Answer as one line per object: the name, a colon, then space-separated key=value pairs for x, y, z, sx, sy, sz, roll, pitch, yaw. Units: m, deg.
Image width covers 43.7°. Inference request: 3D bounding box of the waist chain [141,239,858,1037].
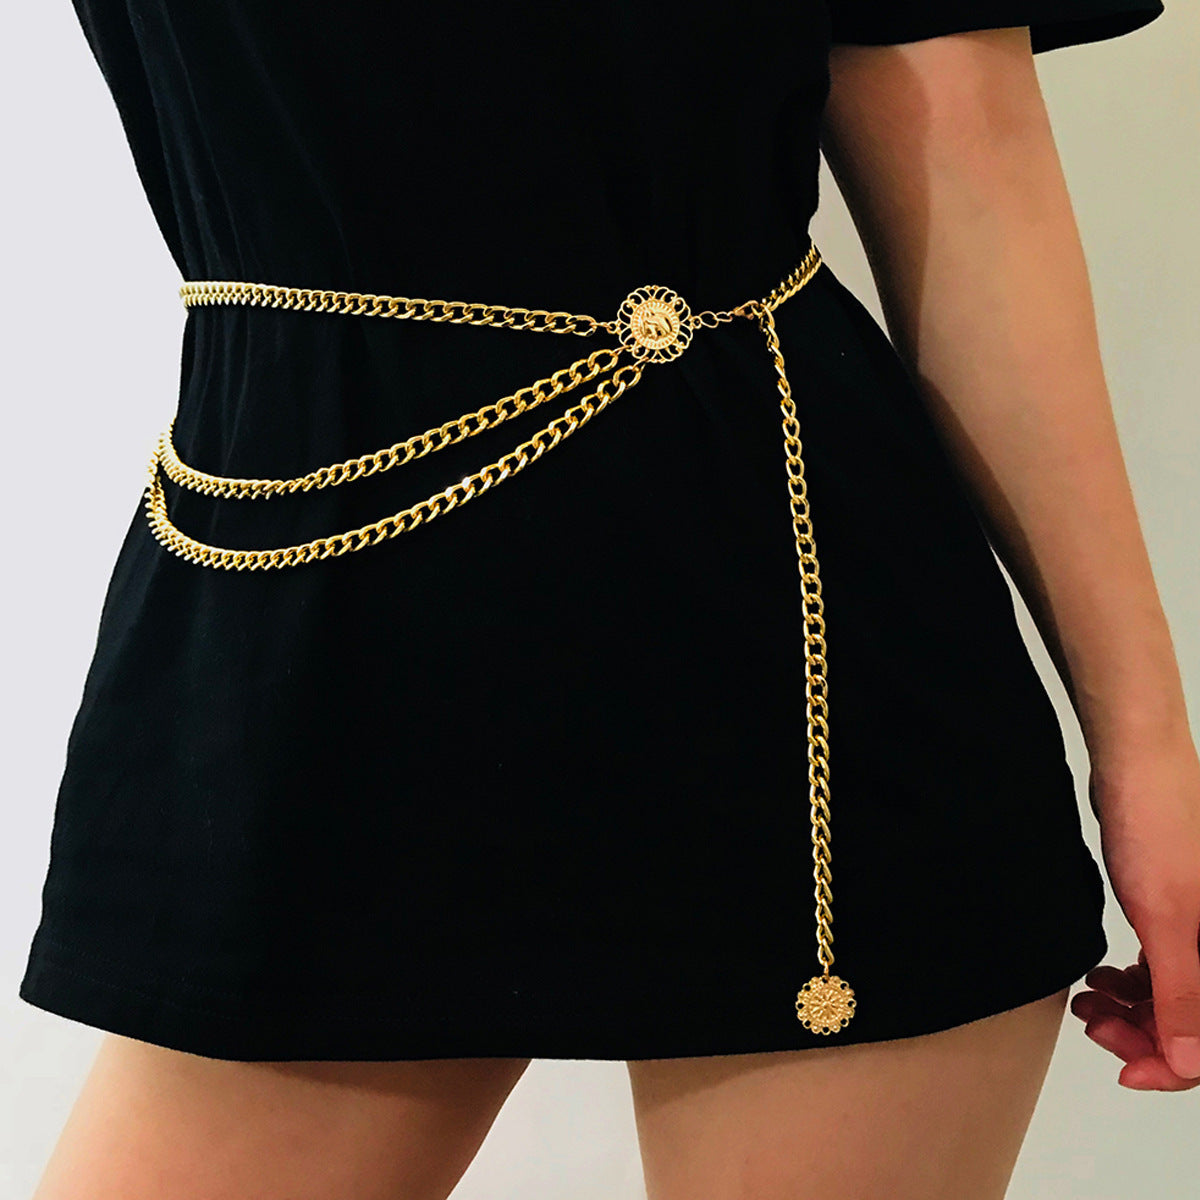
waist chain: x=-0.049 y=0.031 z=0.752 sx=0.367 sy=0.492 sz=0.043 roll=3 pitch=-25 yaw=-8
